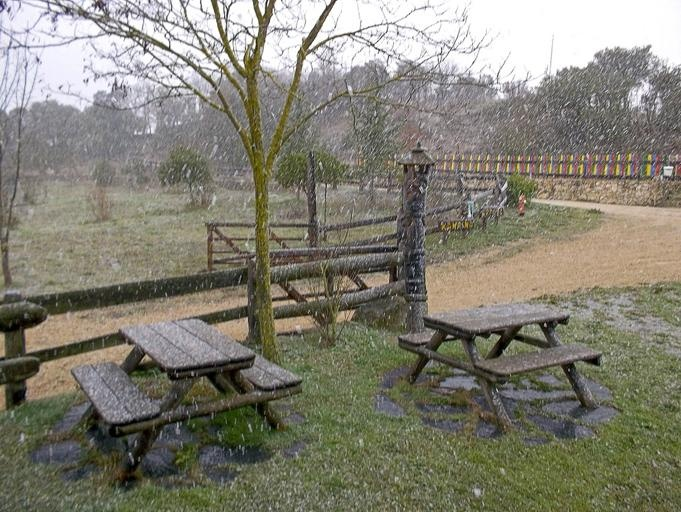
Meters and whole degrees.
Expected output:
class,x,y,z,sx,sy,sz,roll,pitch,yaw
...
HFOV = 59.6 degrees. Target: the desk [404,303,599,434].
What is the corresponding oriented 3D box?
class,x,y,z,sx,sy,sz,roll,pitch,yaw
desk,1.701,0.970,6.819,1.251,0.956,1.563,-5,11,-29
